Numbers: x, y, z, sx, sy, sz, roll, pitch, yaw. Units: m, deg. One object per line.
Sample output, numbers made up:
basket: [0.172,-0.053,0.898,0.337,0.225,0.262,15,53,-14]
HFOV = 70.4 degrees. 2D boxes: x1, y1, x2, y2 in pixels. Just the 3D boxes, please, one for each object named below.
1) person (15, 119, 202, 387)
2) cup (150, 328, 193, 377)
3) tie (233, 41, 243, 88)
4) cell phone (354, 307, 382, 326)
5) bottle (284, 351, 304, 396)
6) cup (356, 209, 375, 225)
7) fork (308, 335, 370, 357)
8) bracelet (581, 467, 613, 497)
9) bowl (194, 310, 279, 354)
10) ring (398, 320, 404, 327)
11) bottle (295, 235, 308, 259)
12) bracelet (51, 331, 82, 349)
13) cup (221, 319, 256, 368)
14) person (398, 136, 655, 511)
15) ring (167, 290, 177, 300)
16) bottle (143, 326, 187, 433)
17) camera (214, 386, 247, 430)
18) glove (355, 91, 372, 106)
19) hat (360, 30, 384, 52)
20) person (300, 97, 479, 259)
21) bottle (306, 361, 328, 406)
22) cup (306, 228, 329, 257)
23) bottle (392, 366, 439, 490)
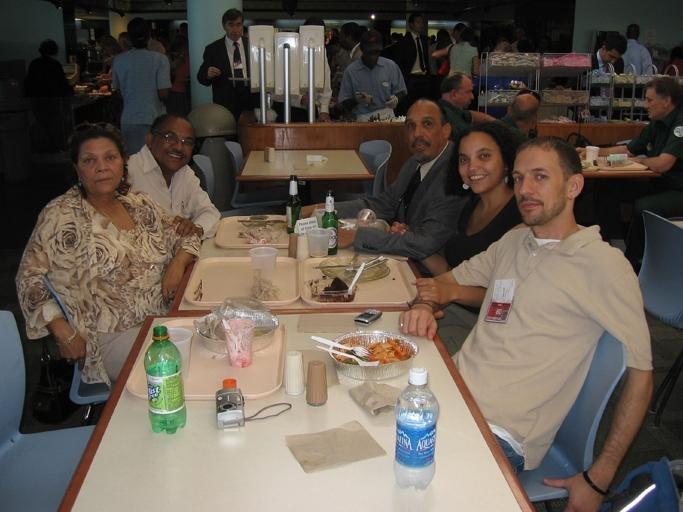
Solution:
person: [-1.075,-0.024,2.264,0.484,1.124,0.817,11,22,33]
cup: [-0.483,0.264,1.459,0.124,0.139,0.125,-1,15,0]
tie: [-1.362,-2.545,6.421,0.120,0.520,0.101,-2,19,-2]
cell phone: [0.109,0.228,1.840,0.066,0.035,0.137,15,24,40]
bottle: [-0.144,0.335,1.455,0.058,0.124,0.114,-4,19,-8]
cup: [0.150,-0.235,2.908,0.099,0.116,0.100,-4,-1,0]
fork: [-0.001,0.301,1.603,0.161,0.019,0.044,16,57,28]
bracelet: [0.802,0.725,1.531,0.077,0.021,0.082,48,23,13]
bowl: [-0.365,0.262,1.669,0.174,0.048,0.177,0,11,0]
ring: [0.218,0.247,1.773,0.019,0.025,0.006,-5,-9,21]
bottle: [-0.189,-0.042,2.399,0.062,0.107,0.100,-2,19,-1]
bracelet: [-1.156,0.356,2.052,0.072,0.029,0.063,-5,11,5]
cup: [-0.325,0.281,1.546,0.141,0.181,0.114,-1,3,-1]
person: [0.703,0.155,1.767,0.615,1.096,0.907,-8,20,-19]
ring: [-0.798,0.183,2.295,0.016,0.047,0.047,47,19,6]
bottle: [-0.487,0.317,1.330,0.108,0.260,0.210,-9,20,-20]
camera: [-0.304,0.404,1.327,0.079,0.047,0.134,-5,23,-17]
glove: [0.273,-1.980,6.121,0.293,0.198,0.166,3,17,24]
hat: [0.397,-2.779,6.283,0.261,0.244,0.184,0,19,3]
person: [0.256,-0.535,3.051,1.064,1.343,0.964,-4,21,-9]
bottle: [-0.070,0.361,1.396,0.063,0.123,0.066,-1,19,0]
cup: [-0.111,-0.058,2.499,0.125,0.137,0.126,2,20,-1]
bottle: [0.185,0.391,1.187,0.104,0.239,0.237,3,19,12]
